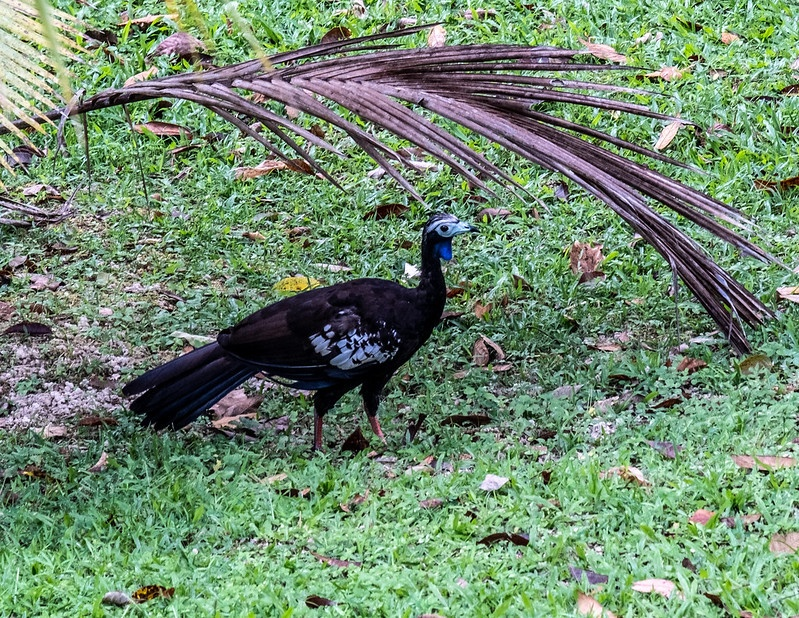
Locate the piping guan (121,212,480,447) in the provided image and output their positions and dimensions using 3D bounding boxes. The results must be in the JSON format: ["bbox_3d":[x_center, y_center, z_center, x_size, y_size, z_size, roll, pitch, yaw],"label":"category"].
[{"bbox_3d":[-0.500,0.134,4.528,1.934,1.033,0.563,-5,15,-8],"label":"piping guan"}]
